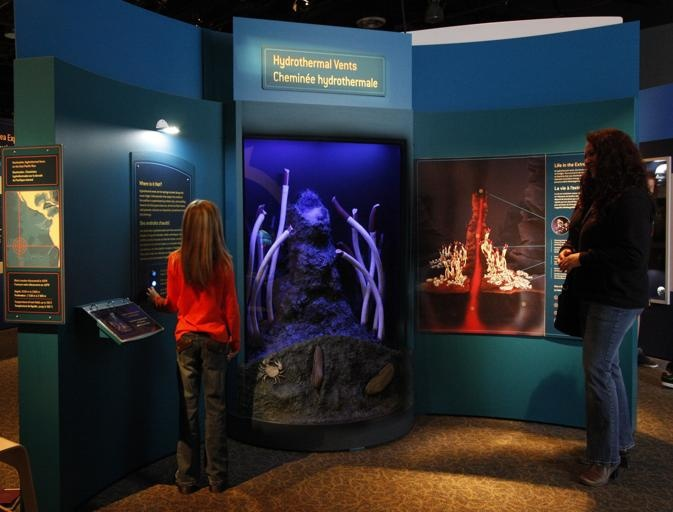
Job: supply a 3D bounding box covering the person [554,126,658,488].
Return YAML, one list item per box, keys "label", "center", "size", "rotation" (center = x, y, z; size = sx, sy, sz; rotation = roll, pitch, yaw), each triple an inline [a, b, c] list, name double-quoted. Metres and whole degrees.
- label: "person"
  center: [1.727, 0.315, 3.563]
  size: [0.541, 2.274, 0.484]
  rotation: [4, 8, 31]

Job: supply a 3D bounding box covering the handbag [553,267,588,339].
- label: "handbag"
  center: [1.633, 0.309, 3.758]
  size: [0.177, 0.462, 0.180]
  rotation: [8, 18, 18]

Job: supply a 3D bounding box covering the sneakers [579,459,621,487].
- label: "sneakers"
  center: [1.748, 1.413, 3.582]
  size: [0.321, 0.148, 0.119]
  rotation: [5, -6, -33]

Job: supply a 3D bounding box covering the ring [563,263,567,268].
- label: "ring"
  center: [1.508, 0.067, 3.584]
  size: [0.018, 0.018, 0.024]
  rotation: [-1, -4, -35]

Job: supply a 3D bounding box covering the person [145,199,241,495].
- label: "person"
  center: [-0.837, 0.573, 3.471]
  size: [0.420, 1.832, 0.296]
  rotation: [-2, 7, -10]
